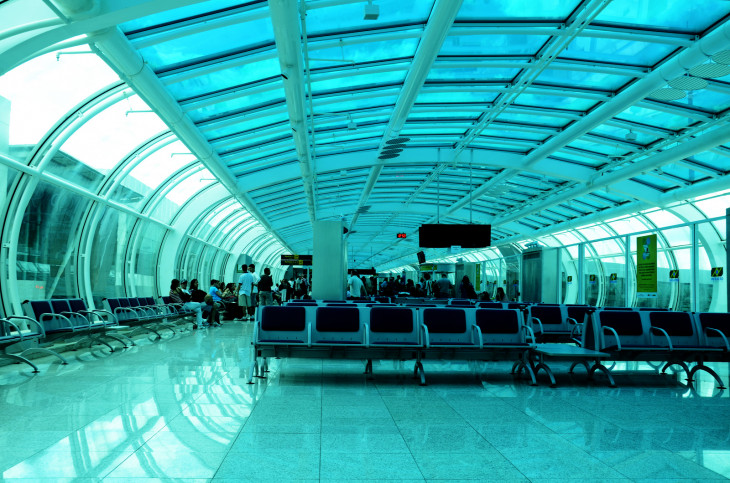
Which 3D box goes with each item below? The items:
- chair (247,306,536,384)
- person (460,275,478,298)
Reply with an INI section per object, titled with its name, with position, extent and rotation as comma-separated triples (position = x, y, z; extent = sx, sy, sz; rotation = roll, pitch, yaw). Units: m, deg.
[chair]
position = 0.529, 1.961, 9.869
extent = 5.304, 1.341, 0.993
rotation = 1, -1, -2
[person]
position = 4.250, 1.873, 21.055
extent = 0.634, 0.822, 1.223
rotation = 1, -1, 8
